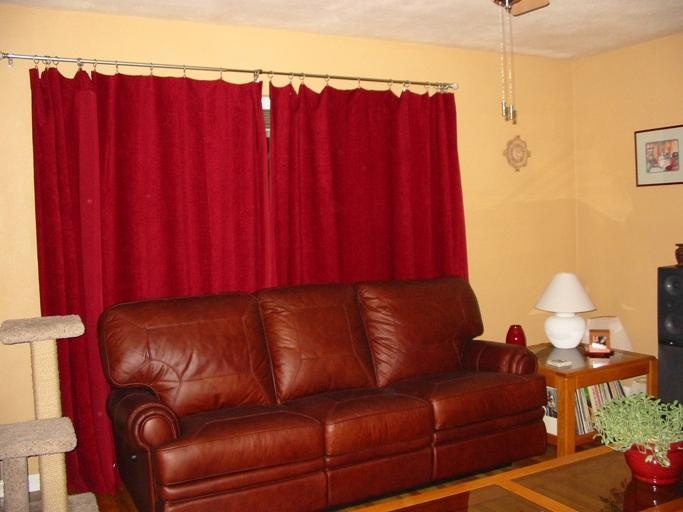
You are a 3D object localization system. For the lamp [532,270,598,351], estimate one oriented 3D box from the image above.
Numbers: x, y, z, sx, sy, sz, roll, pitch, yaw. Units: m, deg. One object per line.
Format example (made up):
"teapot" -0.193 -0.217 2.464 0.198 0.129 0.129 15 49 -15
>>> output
"lamp" 1.868 0.419 4.574 0.553 0.700 0.540 -1 3 -16

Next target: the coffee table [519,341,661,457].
"coffee table" 1.808 0.926 4.209 0.762 0.575 0.742 -6 8 -33

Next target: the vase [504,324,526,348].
"vase" 1.369 0.616 4.387 0.191 0.186 0.172 1 -1 -4
